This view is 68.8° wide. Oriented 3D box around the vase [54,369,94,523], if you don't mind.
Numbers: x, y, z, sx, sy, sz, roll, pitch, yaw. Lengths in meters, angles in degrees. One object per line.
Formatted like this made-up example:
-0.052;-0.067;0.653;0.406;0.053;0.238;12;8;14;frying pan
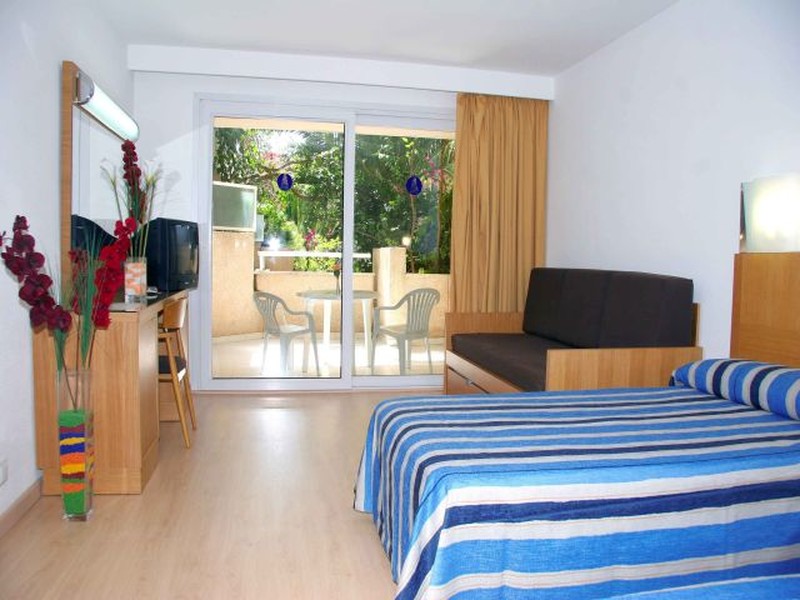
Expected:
-1.719;0.772;3.092;0.151;0.788;0.132;-1;9;-14;vase

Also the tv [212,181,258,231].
-1.516;-0.868;5.300;0.412;0.433;0.031;-1;4;-23;tv

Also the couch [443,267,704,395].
1.145;0.433;4.558;1.148;1.383;2.090;0;5;-11;couch

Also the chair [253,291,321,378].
-0.988;0.320;5.568;0.478;0.827;0.502;-6;3;-23;chair

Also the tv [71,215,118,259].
-1.974;-0.406;3.757;0.147;0.164;0.345;-12;0;-20;tv

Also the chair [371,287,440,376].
0.059;0.282;5.796;0.526;0.894;0.511;-5;12;-38;chair

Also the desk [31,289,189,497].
-1.698;0.544;3.367;0.304;0.663;1.076;-1;6;-11;desk
